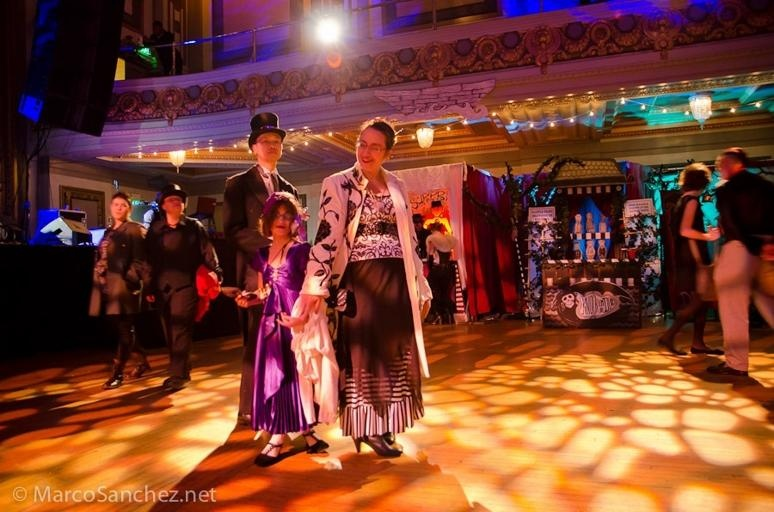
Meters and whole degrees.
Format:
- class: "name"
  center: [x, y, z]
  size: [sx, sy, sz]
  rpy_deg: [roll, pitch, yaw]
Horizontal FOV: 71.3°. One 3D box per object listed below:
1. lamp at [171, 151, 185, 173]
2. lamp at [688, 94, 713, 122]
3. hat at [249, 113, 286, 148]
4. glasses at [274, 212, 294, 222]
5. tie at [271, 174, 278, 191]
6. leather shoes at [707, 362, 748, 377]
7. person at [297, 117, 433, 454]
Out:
- class: "lamp"
  center: [-5.113, -2.361, 13.406]
  size: [0.336, 0.420, 3.984]
  rpy_deg: [-5, 9, -19]
- class: "lamp"
  center: [5.654, -2.716, 9.748]
  size: [0.317, 0.417, 0.442]
  rpy_deg: [2, 10, 24]
- class: "hat"
  center: [-1.090, -1.178, 4.870]
  size: [0.310, 0.184, 0.393]
  rpy_deg: [-7, -15, -11]
- class: "glasses"
  center: [-0.784, -0.311, 4.205]
  size: [0.092, 0.033, 0.093]
  rpy_deg: [7, -24, 2]
- class: "tie"
  center: [-0.988, -0.662, 4.774]
  size: [0.034, 0.127, 0.094]
  rpy_deg: [-7, 9, 18]
- class: "leather shoes"
  center: [3.518, 1.192, 5.621]
  size: [0.147, 0.149, 0.386]
  rpy_deg: [7, -4, -43]
- class: "person"
  center: [-0.128, 0.141, 4.124]
  size: [0.902, 2.369, 0.575]
  rpy_deg: [-1, 9, 4]
